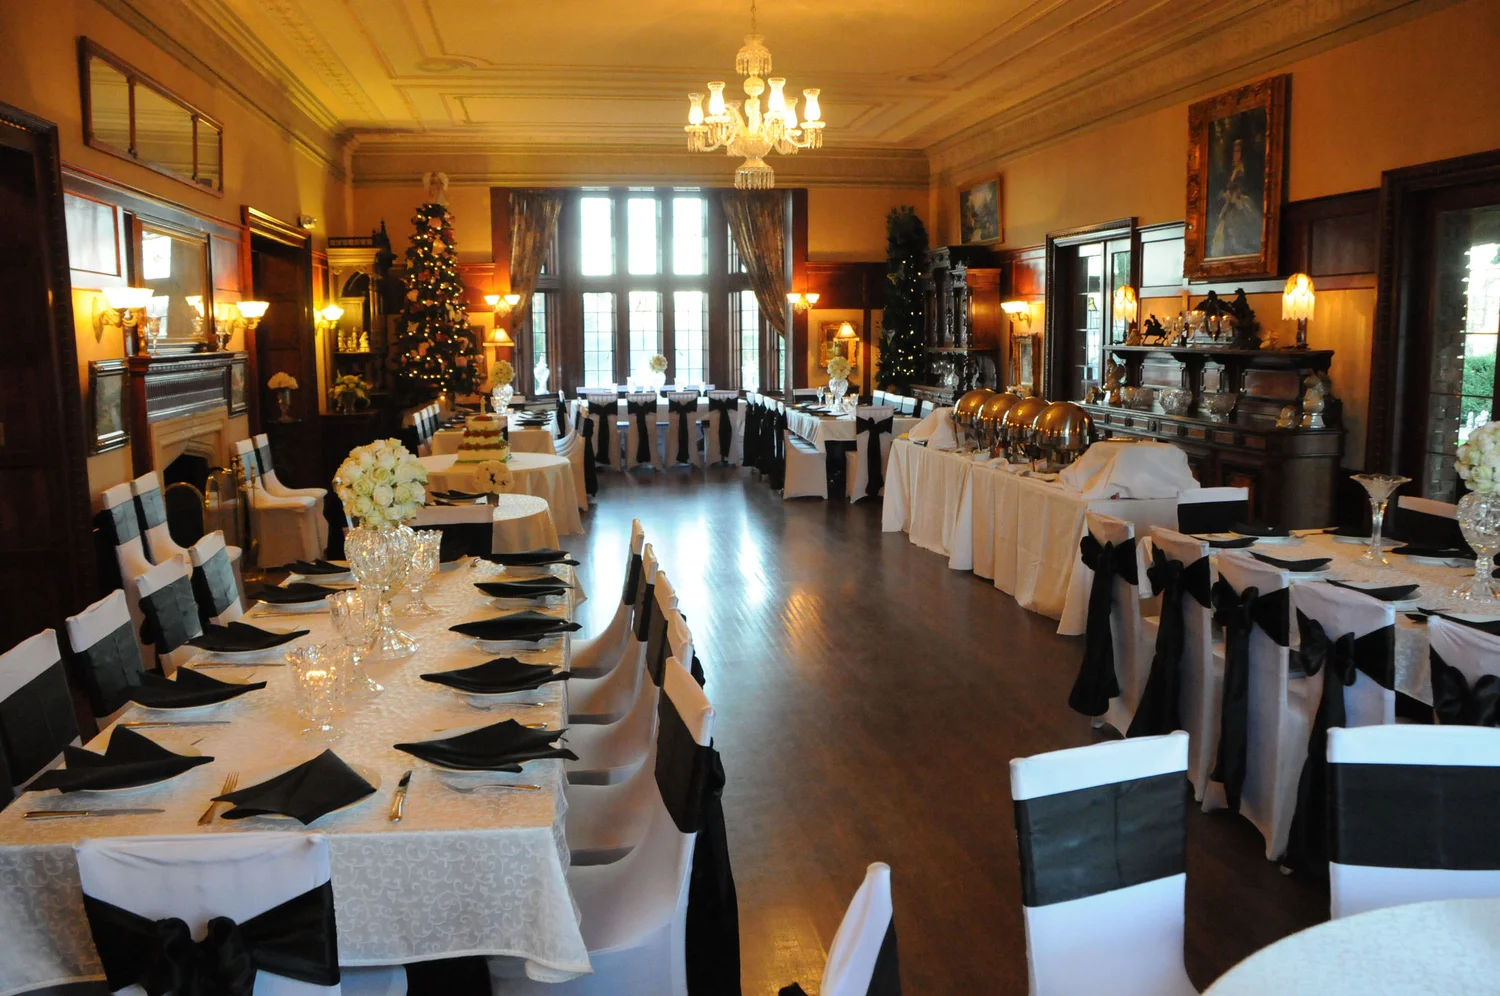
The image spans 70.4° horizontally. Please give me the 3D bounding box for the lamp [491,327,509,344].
[{"bbox_3d":[-3.634,-2.386,15.455,0.254,0.196,0.281,1,13,10],"label":"lamp"}]

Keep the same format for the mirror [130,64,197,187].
[{"bbox_3d":[-4.858,-3.005,8.763,1.036,0.651,0.035,22,19,33],"label":"mirror"}]

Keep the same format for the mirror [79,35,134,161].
[{"bbox_3d":[-4.656,-2.858,7.718,0.666,0.700,0.047,21,20,29],"label":"mirror"}]

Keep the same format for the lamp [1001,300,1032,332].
[{"bbox_3d":[3.493,-2.405,13.843,0.342,0.323,0.375,1,3,23],"label":"lamp"}]

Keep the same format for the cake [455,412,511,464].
[{"bbox_3d":[-1.995,-0.441,7.987,0.468,0.517,0.502,-1,5,-7],"label":"cake"}]

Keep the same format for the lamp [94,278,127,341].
[{"bbox_3d":[-4.612,-1.336,7.616,0.214,0.400,0.456,-8,15,-30],"label":"lamp"}]

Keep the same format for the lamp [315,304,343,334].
[{"bbox_3d":[-5.366,-2.321,13.501,0.301,0.277,0.325,0,-3,-10],"label":"lamp"}]

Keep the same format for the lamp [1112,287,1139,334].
[{"bbox_3d":[4.053,-2.025,11.401,0.225,0.517,1.003,3,14,16],"label":"lamp"}]

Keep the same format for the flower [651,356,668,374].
[{"bbox_3d":[-1.562,-2.278,17.906,0.243,0.188,0.290,5,8,-8],"label":"flower"}]

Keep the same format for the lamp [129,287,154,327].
[{"bbox_3d":[-4.468,-1.408,7.754,0.144,0.270,0.584,-7,15,-29],"label":"lamp"}]

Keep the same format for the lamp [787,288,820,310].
[{"bbox_3d":[0.823,-3.133,16.640,0.369,0.230,0.265,-1,9,-7],"label":"lamp"}]

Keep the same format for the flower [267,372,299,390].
[{"bbox_3d":[-5.011,-1.269,11.446,0.280,0.134,0.315,1,-6,4],"label":"flower"}]

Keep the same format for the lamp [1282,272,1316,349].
[{"bbox_3d":[4.537,-1.577,8.766,0.233,0.585,0.487,6,14,27],"label":"lamp"}]

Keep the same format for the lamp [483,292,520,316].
[{"bbox_3d":[-3.779,-2.986,16.175,0.603,0.296,0.503,-5,14,-18],"label":"lamp"}]

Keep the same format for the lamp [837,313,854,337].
[{"bbox_3d":[1.515,-2.721,16.848,0.244,0.268,0.260,4,7,17],"label":"lamp"}]

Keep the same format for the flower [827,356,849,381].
[{"bbox_3d":[1.157,-1.735,13.989,0.508,0.309,0.736,0,6,2],"label":"flower"}]
